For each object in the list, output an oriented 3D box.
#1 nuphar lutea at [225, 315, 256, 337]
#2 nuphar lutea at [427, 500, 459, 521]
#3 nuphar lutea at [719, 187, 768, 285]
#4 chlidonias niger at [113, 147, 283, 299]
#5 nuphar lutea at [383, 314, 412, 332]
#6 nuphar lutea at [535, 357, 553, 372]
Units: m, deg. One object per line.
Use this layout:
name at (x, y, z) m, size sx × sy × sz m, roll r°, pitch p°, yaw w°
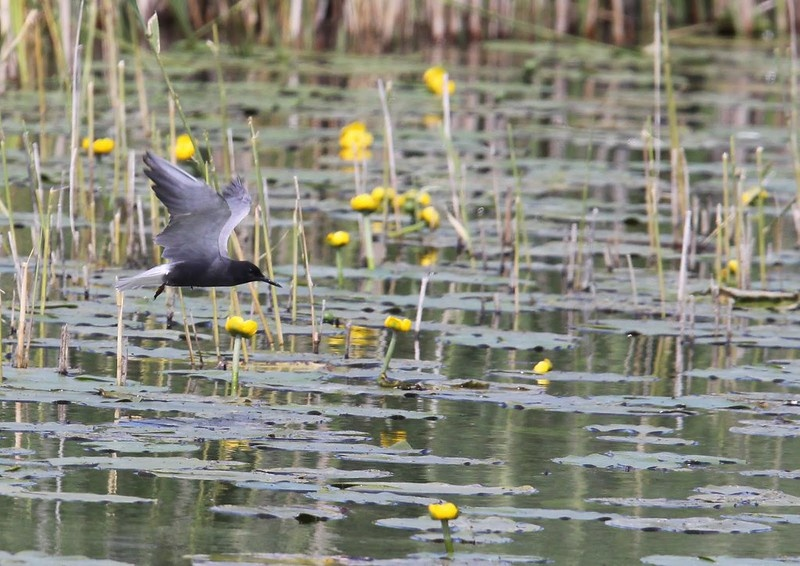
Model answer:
nuphar lutea at (-0.686, 0.193, 5.296) m, size 0.127 × 0.046 × 0.126 m, roll 19°, pitch 12°, yaw 38°
nuphar lutea at (0.134, 0.699, 3.885) m, size 0.098 × 0.039 × 0.096 m, roll -1°, pitch 4°, yaw -22°
nuphar lutea at (2.083, -0.267, 7.625) m, size 0.403 × 0.684 × 0.308 m, roll -7°, pitch 33°, yaw -2°
chlidonias niger at (-0.893, -0.248, 5.185) m, size 0.611 × 0.622 × 0.268 m, roll -6°, pitch 19°, yaw -8°
nuphar lutea at (-0.005, 0.175, 5.399) m, size 0.102 × 0.047 × 0.113 m, roll 11°, pitch -1°, yaw 20°
nuphar lutea at (0.647, 0.378, 5.688) m, size 0.076 × 0.072 × 0.111 m, roll -2°, pitch 15°, yaw 3°
